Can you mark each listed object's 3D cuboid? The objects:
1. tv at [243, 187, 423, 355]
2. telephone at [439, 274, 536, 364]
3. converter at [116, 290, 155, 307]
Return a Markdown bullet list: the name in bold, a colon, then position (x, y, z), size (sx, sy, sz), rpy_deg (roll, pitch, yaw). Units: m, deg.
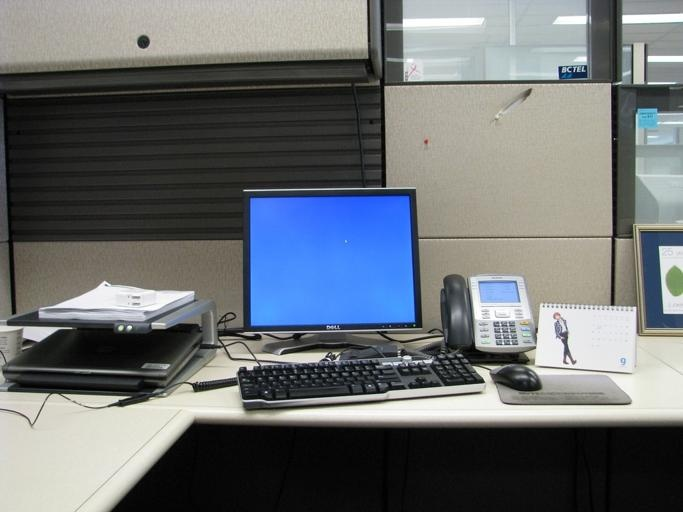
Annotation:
- **tv**: position (-0.028, 0.031, 1.855), size (0.485, 0.396, 0.163), rpy_deg (-1, -3, -2)
- **telephone**: position (0.394, 0.157, 1.708), size (0.222, 0.225, 0.096), rpy_deg (1, -37, 3)
- **converter**: position (-0.531, 0.103, 1.717), size (0.104, 0.036, 0.082), rpy_deg (-2, 7, 9)
